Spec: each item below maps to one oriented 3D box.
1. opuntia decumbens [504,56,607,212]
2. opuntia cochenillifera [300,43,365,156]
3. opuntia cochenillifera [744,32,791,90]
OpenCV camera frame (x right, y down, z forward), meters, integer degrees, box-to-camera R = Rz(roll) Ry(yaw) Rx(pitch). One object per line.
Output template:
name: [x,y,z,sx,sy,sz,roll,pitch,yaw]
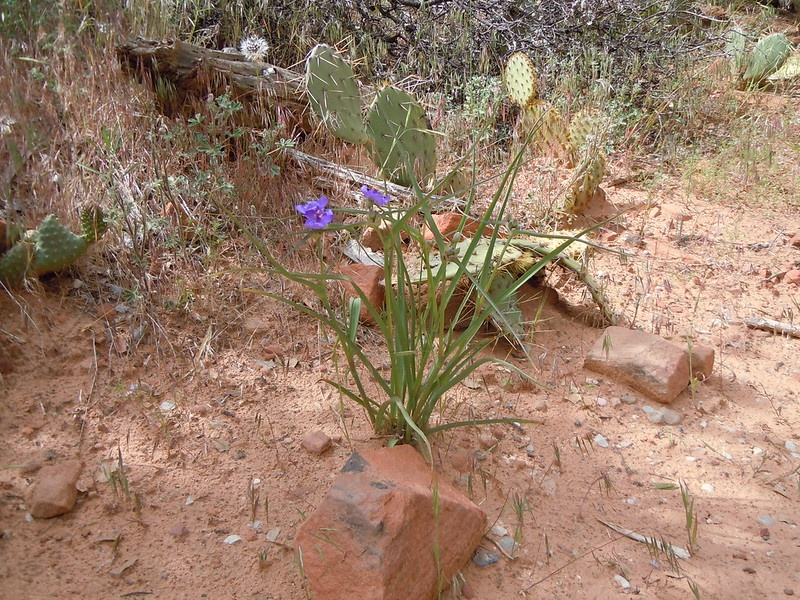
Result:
opuntia decumbens: [0.921,-0.965,3.631,0.414,0.486,1.051,-2,43,-14]
opuntia cochenillifera: [-0.321,-0.984,3.264,0.314,0.460,0.424,1,40,-10]
opuntia cochenillifera: [2.785,-1.788,4.892,0.296,0.432,0.108,40,7,28]
